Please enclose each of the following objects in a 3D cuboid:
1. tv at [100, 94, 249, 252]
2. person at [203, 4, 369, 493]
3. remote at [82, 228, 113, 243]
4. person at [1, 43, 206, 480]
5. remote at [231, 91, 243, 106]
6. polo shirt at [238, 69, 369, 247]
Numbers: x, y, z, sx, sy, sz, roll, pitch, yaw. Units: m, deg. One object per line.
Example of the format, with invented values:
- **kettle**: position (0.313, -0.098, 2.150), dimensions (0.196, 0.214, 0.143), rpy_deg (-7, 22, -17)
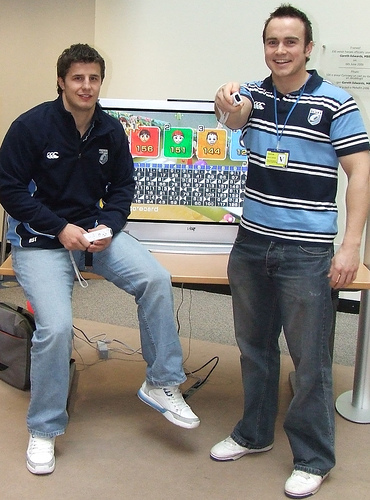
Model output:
- **tv**: position (-0.042, -0.326, 1.731), dimensions (0.684, 0.618, 0.072), rpy_deg (4, 2, 0)
- **person**: position (0.297, 0.021, 1.288), dimensions (0.451, 1.401, 0.278), rpy_deg (3, 5, 3)
- **remote**: position (-0.300, -0.051, 1.436), dimensions (0.088, 0.035, 0.014), rpy_deg (-10, -19, -21)
- **person**: position (-0.319, -0.009, 1.434), dimensions (0.564, 1.392, 0.555), rpy_deg (0, 6, -24)
- **remote**: position (0.141, -0.422, 1.167), dimensions (0.030, 0.044, 0.026), rpy_deg (4, 5, 16)
- **polo shirt**: position (0.321, -0.264, 1.219), dimensions (0.367, 0.497, 0.127), rpy_deg (7, 7, 41)
